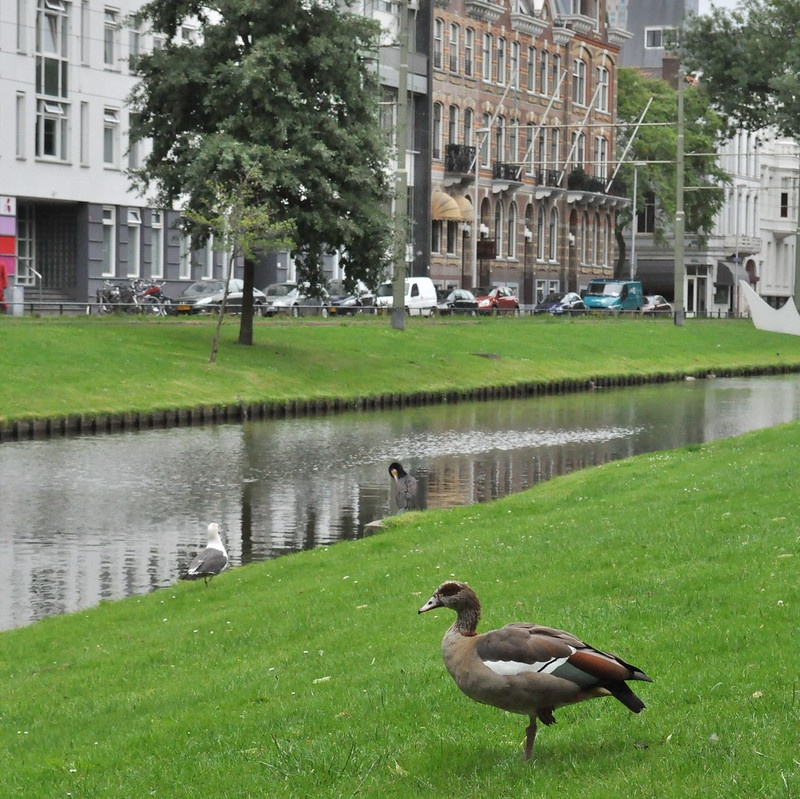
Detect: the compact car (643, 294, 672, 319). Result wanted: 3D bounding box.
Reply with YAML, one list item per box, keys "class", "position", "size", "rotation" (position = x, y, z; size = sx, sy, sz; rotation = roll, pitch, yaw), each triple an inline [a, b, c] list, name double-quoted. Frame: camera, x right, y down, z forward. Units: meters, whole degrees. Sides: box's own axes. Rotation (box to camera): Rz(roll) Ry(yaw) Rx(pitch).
- class: "compact car"
  position: [12.147, -4.471, 95.659]
  size: [1.013, 0.992, 2.662]
  rotation: [-1, -2, 20]

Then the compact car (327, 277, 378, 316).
- class: "compact car"
  position: [-1.874, -3.513, 67.496]
  size: [1.040, 1.156, 2.412]
  rotation: [1, 1, 17]

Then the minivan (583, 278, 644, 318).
- class: "minivan"
  position: [9.102, -4.446, 86.538]
  size: [1.374, 1.539, 2.592]
  rotation: [2, -2, 25]

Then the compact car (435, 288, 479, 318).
- class: "compact car"
  position: [2.205, -3.616, 75.360]
  size: [0.857, 0.859, 1.507]
  rotation: [-2, -4, 32]

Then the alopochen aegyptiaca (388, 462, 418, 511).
- class: "alopochen aegyptiaca"
  position: [0.050, 1.286, 29.015]
  size: [0.277, 0.718, 0.932]
  rotation: [-3, 16, -13]

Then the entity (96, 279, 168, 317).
- class: "entity"
  position: [-8.285, -3.232, 61.758]
  size: [2.144, 1.312, 8.552]
  rotation: [-1, 1, -7]

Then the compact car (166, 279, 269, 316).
- class: "compact car"
  position: [-5.875, -3.597, 63.356]
  size: [1.511, 1.414, 3.759]
  rotation: [-1, -1, 32]

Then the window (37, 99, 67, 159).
- class: "window"
  position: [-10.998, -8.448, 62.533]
  size: [0.257, 2.001, 1.751]
  rotation: [1, 2, 21]

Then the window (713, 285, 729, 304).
- class: "window"
  position: [19.802, -6.740, 123.541]
  size: [0.807, 1.795, 1.510]
  rotation: [5, 3, 13]

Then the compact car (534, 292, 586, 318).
- class: "compact car"
  position: [6.676, -3.942, 83.216]
  size: [1.166, 1.059, 2.001]
  rotation: [-2, -2, 36]

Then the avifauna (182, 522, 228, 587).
- class: "avifauna"
  position: [-2.350, 1.909, 24.250]
  size: [0.361, 0.831, 0.858]
  rotation: [2, 9, 27]

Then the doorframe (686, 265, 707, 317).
- class: "doorframe"
  position: [18.121, -6.787, 122.188]
  size: [1.499, 3.541, 0.194]
  rotation: [3, 34, 11]
